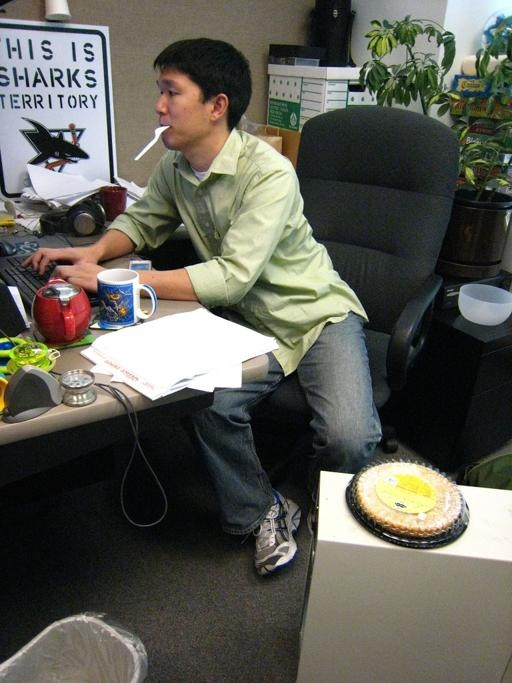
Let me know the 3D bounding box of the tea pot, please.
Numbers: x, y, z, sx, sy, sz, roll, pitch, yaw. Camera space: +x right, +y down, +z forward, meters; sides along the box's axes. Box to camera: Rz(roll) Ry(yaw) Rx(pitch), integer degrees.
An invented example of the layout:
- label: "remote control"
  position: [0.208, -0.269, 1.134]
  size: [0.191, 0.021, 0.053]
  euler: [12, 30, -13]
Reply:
- label: "tea pot"
  position: [-0.320, -0.060, 0.848]
  size: [0.081, 0.080, 0.110]
  euler: [-9, 35, -27]

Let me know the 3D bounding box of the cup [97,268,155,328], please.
- label: "cup"
  position: [-0.245, -0.080, 0.966]
  size: [0.129, 0.103, 0.080]
  euler: [12, 26, 10]

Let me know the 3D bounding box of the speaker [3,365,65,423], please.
- label: "speaker"
  position: [-0.284, 0.070, 0.650]
  size: [0.031, 0.047, 0.056]
  euler: [17, 39, 41]

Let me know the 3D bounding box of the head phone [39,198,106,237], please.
- label: "head phone"
  position: [-0.521, -0.340, 1.454]
  size: [0.142, 0.069, 0.118]
  euler: [-4, 12, 16]

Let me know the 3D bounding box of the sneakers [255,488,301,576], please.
- label: "sneakers"
  position: [0.049, 0.481, 1.292]
  size: [0.090, 0.096, 0.202]
  euler: [-34, 11, 26]
